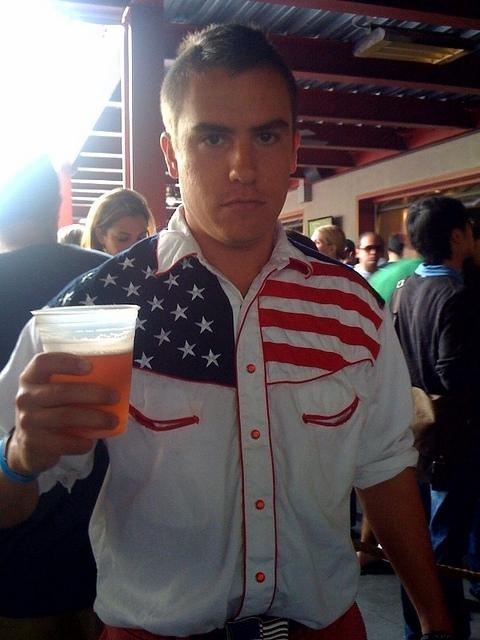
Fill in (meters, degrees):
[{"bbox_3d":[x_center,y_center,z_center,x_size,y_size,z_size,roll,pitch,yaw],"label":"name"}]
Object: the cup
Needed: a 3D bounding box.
[{"bbox_3d":[-0.175,0.074,0.806,0.177,0.207,0.175,-2,-3,0],"label":"cup"}]
